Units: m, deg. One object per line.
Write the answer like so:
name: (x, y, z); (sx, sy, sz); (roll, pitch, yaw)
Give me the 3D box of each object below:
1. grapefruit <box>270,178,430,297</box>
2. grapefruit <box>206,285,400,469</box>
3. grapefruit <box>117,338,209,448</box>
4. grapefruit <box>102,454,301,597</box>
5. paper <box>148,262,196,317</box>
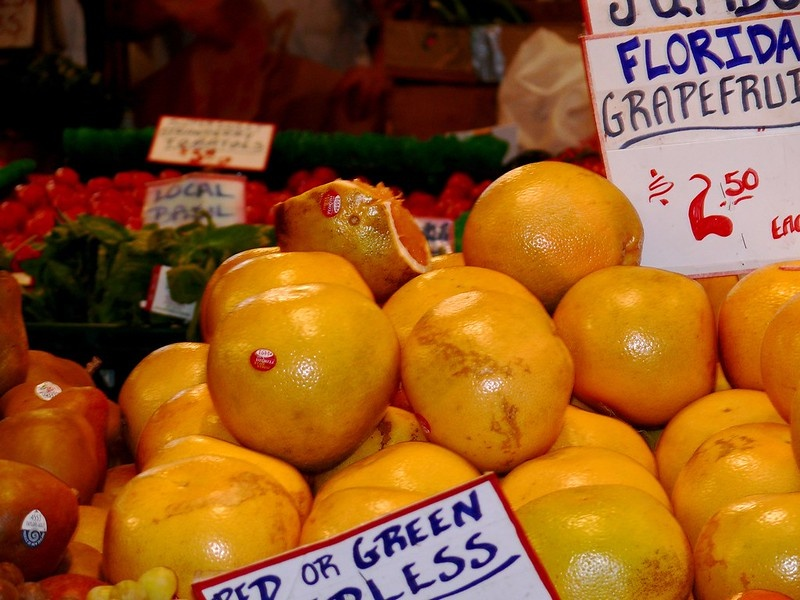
grapefruit: (-0.112, -0.161, 1.841); (0.351, 0.233, 0.267); (35, -3, -4)
grapefruit: (-0.206, 0.119, 1.498); (0.353, 0.354, 0.338); (-8, 25, -19)
grapefruit: (-0.573, 0.174, 1.847); (0.261, 0.262, 0.307); (-12, 12, -21)
grapefruit: (-0.356, 0.321, 1.296); (0.250, 0.204, 0.248); (2, 12, 25)
paper: (-0.973, -0.033, 3.079); (0.215, 0.153, 0.198); (2, 44, 10)
